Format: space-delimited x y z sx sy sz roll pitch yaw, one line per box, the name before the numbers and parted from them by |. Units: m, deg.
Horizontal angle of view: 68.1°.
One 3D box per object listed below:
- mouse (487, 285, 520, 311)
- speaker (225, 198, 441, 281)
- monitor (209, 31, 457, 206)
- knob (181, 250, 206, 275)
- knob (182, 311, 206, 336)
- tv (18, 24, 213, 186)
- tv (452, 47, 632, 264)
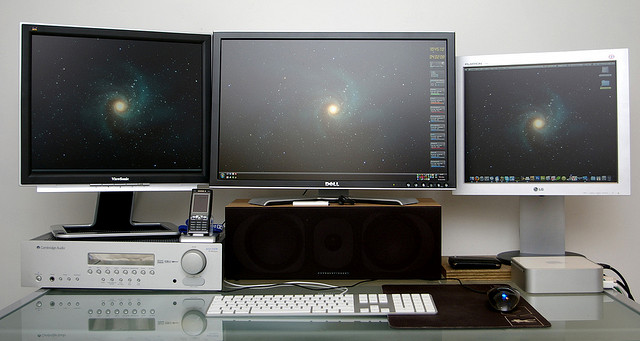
mouse | 0.834 0.598 2.172 0.164 0.167 0.089 -5 -115 -4
speaker | 0.073 0.374 2.437 1.059 0.286 0.345 0 -99 2
monitor | 0.075 -0.281 2.350 1.019 0.276 0.608 0 -88 1
knob | -0.575 0.423 2.231 0.117 0.107 0.099 6 -91 -3
knob | -0.548 0.664 2.070 0.108 0.115 0.058 5 -82 0
tv | -1.031 -0.314 2.323 0.954 0.066 0.661 0 -88 -5
tv | 1.097 -0.234 2.349 0.835 0.168 0.708 -1 -81 0
